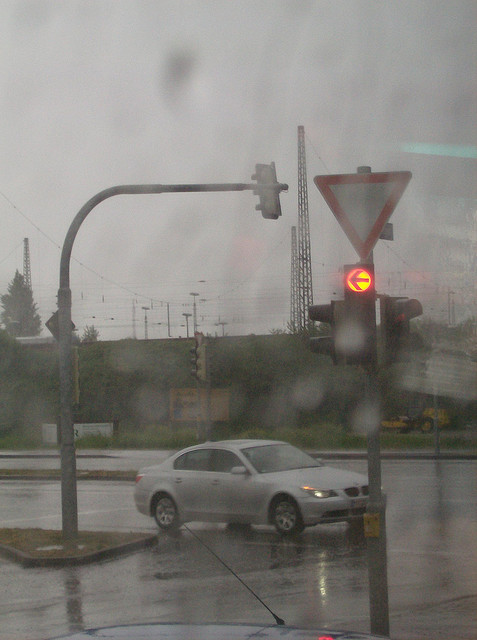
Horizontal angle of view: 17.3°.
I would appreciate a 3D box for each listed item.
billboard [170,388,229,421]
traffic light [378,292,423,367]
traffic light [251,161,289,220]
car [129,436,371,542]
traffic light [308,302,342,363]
[{"bbox_3d":[-1.304,2.833,54.742,1.497,1.056,0.068,-1,-5,19],"label":"billboard"},{"bbox_3d":[1.671,0.055,16.059,0.435,0.727,0.437,-2,-7,5],"label":"traffic light"},{"bbox_3d":[0.456,-1.852,21.923,0.480,0.789,0.414,-2,-7,1],"label":"traffic light"},{"bbox_3d":[0.207,2.297,21.910,3.056,1.167,1.361,-10,-11,37],"label":"car"},{"bbox_3d":[0.925,0.119,16.118,0.180,0.617,0.517,1,-8,-25],"label":"traffic light"}]
